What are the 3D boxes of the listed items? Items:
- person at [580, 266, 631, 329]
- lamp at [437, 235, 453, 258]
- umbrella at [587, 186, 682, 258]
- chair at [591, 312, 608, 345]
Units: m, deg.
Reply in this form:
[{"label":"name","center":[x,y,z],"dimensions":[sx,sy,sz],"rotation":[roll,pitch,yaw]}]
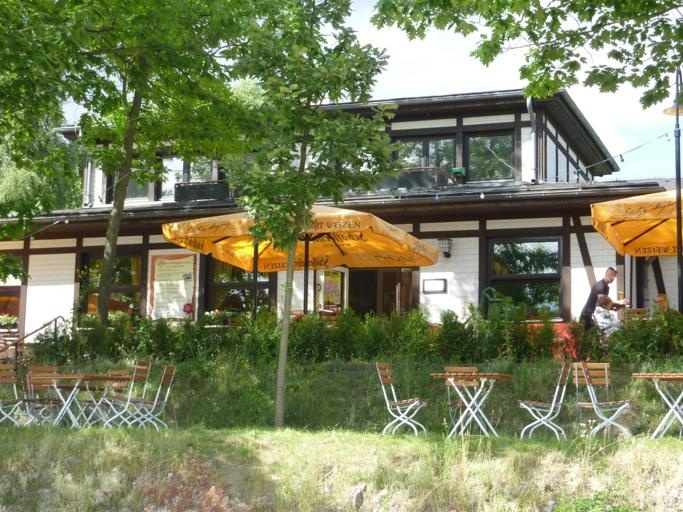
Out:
[{"label":"person","center":[5.155,1.036,19.365],"dimensions":[0.827,1.713,0.578],"rotation":[-1,25,1]},{"label":"lamp","center":[2.382,-0.200,23.310],"dimensions":[0.401,0.543,0.410],"rotation":[1,1,-2]},{"label":"umbrella","center":[5.827,-0.707,19.258],"dimensions":[1.647,1.020,3.053],"rotation":[-3,-10,16]},{"label":"chair","center":[4.912,1.395,18.665],"dimensions":[0.140,0.691,0.119],"rotation":[-36,-40,21]}]
